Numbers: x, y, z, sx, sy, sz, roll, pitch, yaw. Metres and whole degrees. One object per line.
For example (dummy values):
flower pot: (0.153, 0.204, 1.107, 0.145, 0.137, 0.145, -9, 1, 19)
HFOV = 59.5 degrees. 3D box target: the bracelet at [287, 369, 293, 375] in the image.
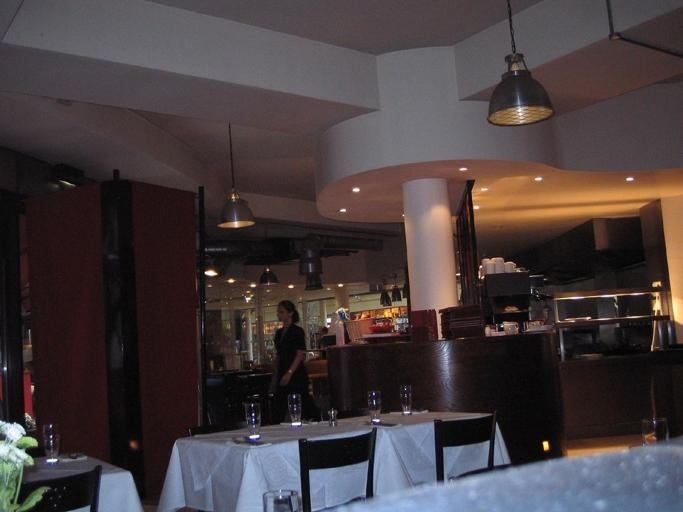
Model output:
bracelet: (-0.556, 1.254, 6.483, 0.062, 0.019, 0.063, -3, -4, 3)

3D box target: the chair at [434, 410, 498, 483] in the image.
chair: (0.745, 1.148, 3.619, 0.486, 0.378, 0.363, -2, -8, -18)

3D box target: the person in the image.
person: (-0.587, 1.168, 6.663, 0.417, 1.364, 1.165, -3, -8, -5)

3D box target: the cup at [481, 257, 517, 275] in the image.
cup: (1.744, 0.087, 6.933, 0.384, 0.167, 0.229, -7, -11, 44)
